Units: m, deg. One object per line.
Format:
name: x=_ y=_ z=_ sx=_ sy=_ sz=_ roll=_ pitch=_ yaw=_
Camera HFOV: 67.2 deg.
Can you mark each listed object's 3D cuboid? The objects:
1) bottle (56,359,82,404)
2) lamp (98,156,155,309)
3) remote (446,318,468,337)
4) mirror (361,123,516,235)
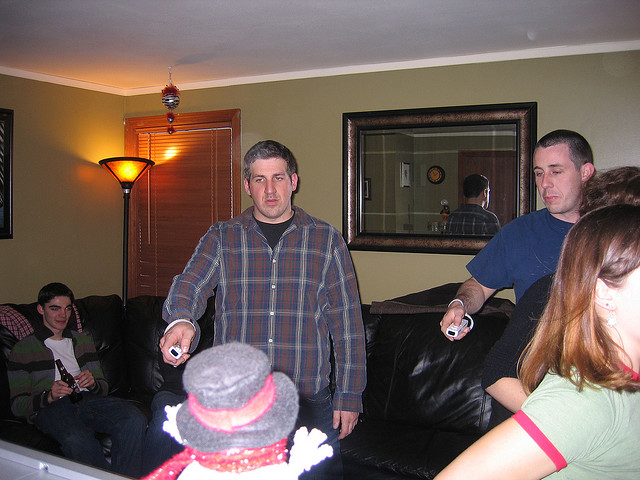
bottle: x=-1.443 y=0.820 z=2.777 sx=0.103 sy=0.217 sz=0.196 roll=-5 pitch=10 yaw=-34
lamp: x=-1.839 y=-0.081 z=4.673 sx=0.462 sy=1.413 sz=0.599 roll=-3 pitch=9 yaw=-21
remote: x=0.529 y=0.338 z=1.862 sx=0.042 sy=0.021 sz=0.088 roll=8 pitch=17 yaw=30
mirror: x=0.956 y=-0.463 z=3.898 sx=1.537 sy=1.110 sz=0.060 roll=0 pitch=0 yaw=-7
